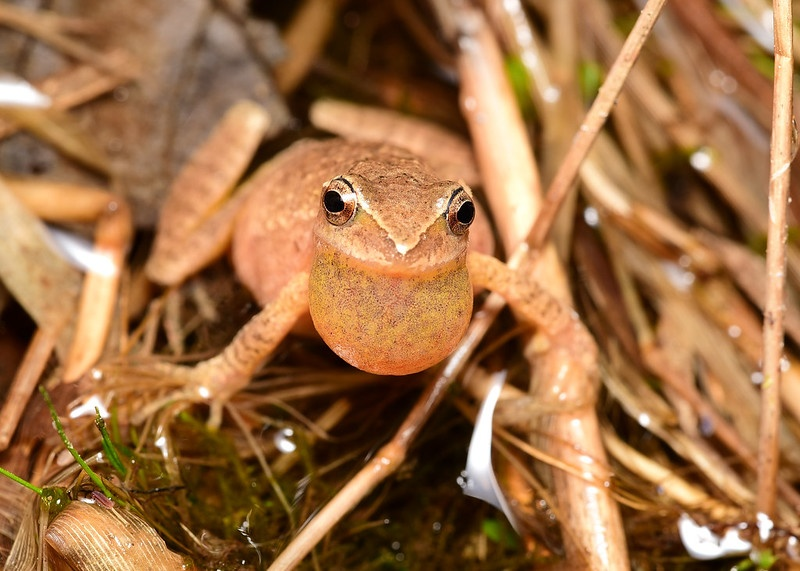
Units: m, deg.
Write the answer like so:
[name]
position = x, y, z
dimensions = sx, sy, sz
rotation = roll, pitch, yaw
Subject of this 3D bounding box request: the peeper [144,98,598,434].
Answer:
[peeper]
position = -0.102, -0.107, 2.444
dimensions = 0.915, 0.973, 1.270
rotation = -6, 20, -12
